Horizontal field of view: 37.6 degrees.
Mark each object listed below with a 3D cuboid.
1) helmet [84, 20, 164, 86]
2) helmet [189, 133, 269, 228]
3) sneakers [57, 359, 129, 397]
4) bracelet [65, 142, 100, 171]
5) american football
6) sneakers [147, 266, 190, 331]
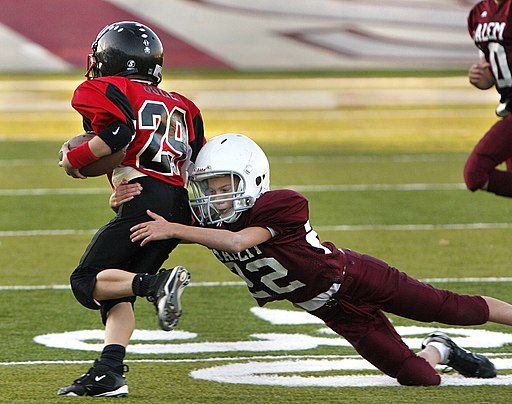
[{"bbox_3d":[-0.701,-0.793,3.948,0.411,0.313,0.462,-2,13,-40],"label":"helmet"},{"bbox_3d":[-0.120,-0.116,3.881,0.437,0.286,0.449,-1,3,20],"label":"helmet"},{"bbox_3d":[-0.789,0.848,3.644,0.327,0.160,0.117,0,9,-9],"label":"sneakers"},{"bbox_3d":[-0.856,-0.232,3.734,0.166,0.141,0.062,6,11,32],"label":"bracelet"},{"bbox_3d":[-0.804,-0.258,3.860,0.336,0.198,0.326,13,18,35],"label":"american football"},{"bbox_3d":[-0.418,0.463,3.600,0.194,0.322,0.235,-1,10,-15],"label":"sneakers"}]
